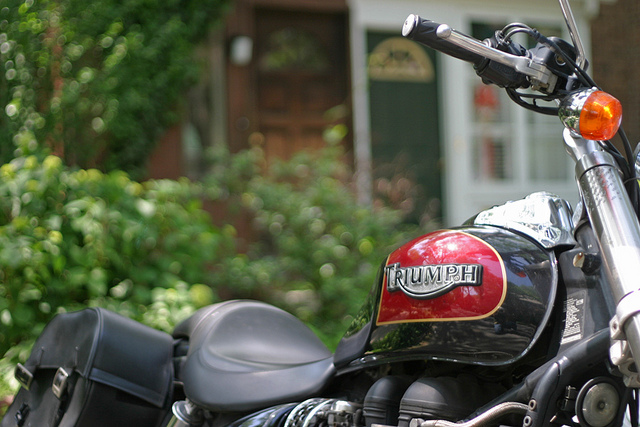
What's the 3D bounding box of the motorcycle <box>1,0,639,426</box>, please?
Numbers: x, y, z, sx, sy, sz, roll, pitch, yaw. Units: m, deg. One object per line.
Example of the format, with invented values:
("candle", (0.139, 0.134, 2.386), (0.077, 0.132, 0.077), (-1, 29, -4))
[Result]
("motorcycle", (-0.058, 0.157, 4.108), (3.168, 2.134, 1.488), (-11, -14, 44))
